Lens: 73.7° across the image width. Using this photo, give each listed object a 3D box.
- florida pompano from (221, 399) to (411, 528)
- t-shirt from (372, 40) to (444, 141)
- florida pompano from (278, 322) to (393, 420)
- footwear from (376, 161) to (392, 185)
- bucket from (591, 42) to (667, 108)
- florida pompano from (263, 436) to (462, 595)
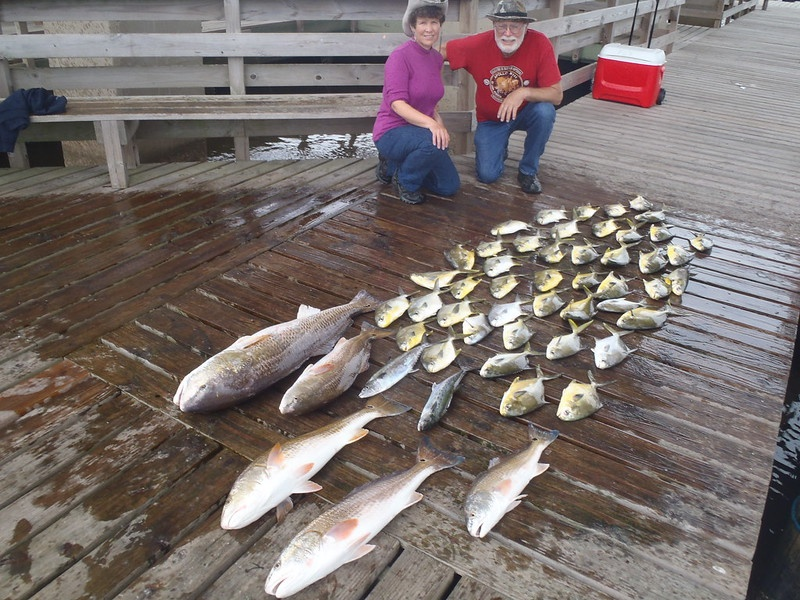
[{"bbox_3d":[-0.369,0.740,2.537,1.005,0.203,0.301,-17,41,-37],"label":"florida pompano"},{"bbox_3d":[0.074,-1.759,4.525,0.617,0.813,0.357,-3,32,-5],"label":"t-shirt"},{"bbox_3d":[-0.298,0.376,2.878,0.278,0.165,0.752,22,27,24],"label":"florida pompano"},{"bbox_3d":[-0.155,-1.180,4.973,0.136,0.215,0.132,-9,4,-4],"label":"footwear"},{"bbox_3d":[2.873,-3.035,7.400,1.354,0.679,0.665,-1,18,-17],"label":"bucket"},{"bbox_3d":[-0.042,0.913,2.333,1.115,0.186,0.367,-16,22,-40],"label":"florida pompano"}]
